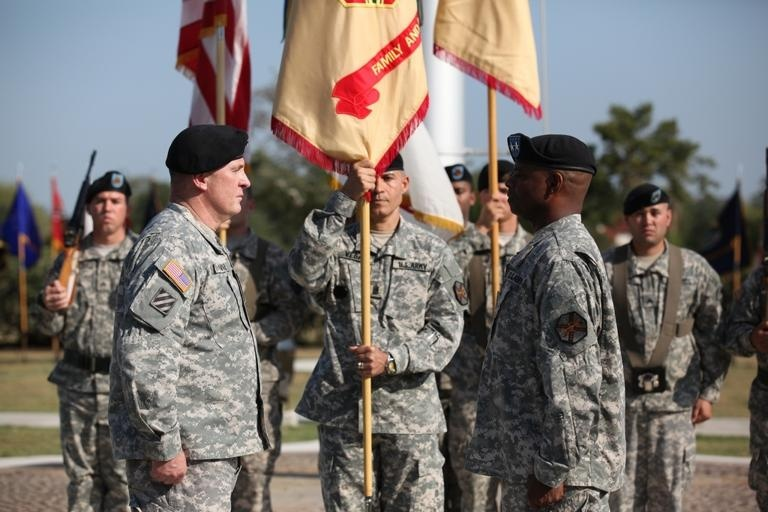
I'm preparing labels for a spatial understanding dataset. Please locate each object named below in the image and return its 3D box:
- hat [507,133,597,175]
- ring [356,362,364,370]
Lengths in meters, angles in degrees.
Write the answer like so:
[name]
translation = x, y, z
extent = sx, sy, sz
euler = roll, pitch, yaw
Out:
[hat]
translation = 1.818, -1.146, 17.815
extent = 1.037, 0.425, 0.949
euler = 8, 1, 19
[ring]
translation = -0.274, 1.252, 18.113
extent = 0.052, 0.082, 0.029
euler = -3, -1, 38
